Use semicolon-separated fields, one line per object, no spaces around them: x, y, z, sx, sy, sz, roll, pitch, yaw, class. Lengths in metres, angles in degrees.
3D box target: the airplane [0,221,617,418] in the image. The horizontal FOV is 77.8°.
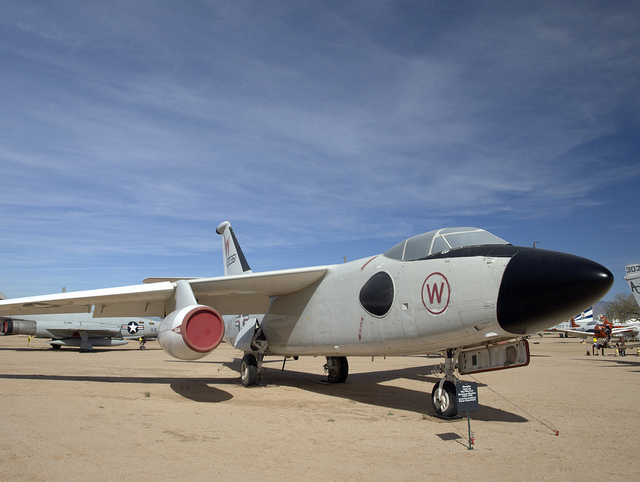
0.282;2.025;10.362;12.043;4.151;4.918;-3;-11;27;airplane
